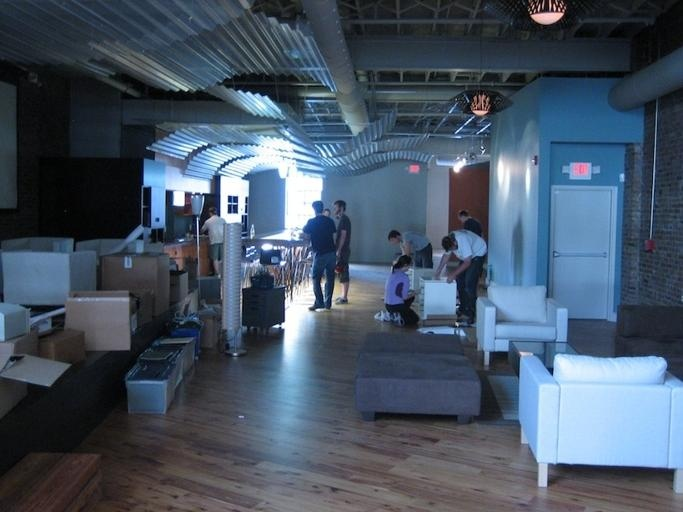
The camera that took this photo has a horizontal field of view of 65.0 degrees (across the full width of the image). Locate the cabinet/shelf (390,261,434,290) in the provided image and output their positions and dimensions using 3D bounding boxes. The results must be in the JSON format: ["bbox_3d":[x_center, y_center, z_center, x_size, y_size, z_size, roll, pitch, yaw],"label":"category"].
[{"bbox_3d":[1.440,0.372,9.929,0.413,0.560,0.790,1,2,-2],"label":"cabinet/shelf"}]

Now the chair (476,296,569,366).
[{"bbox_3d":[2.306,0.959,6.882,0.904,0.718,0.878,0,-3,7],"label":"chair"}]

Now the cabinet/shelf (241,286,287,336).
[{"bbox_3d":[-1.206,0.821,8.126,0.602,0.673,0.656,0,0,26],"label":"cabinet/shelf"}]

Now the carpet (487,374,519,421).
[{"bbox_3d":[1.745,1.509,5.737,0.305,0.058,1.262,4,9,16],"label":"carpet"}]

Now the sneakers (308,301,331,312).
[{"bbox_3d":[-0.409,0.908,9.765,0.433,0.194,0.149,1,4,-8],"label":"sneakers"}]

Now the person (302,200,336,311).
[{"bbox_3d":[-0.413,-0.036,9.962,0.580,2.005,0.935,1,8,-2],"label":"person"}]

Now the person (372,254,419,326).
[{"bbox_3d":[0.927,0.527,8.676,0.594,1.199,0.811,0,8,-9],"label":"person"}]

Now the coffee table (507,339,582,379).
[{"bbox_3d":[2.076,0.997,5.617,0.506,0.181,0.780,1,5,5],"label":"coffee table"}]

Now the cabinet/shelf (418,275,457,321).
[{"bbox_3d":[1.564,0.707,8.694,0.532,0.664,0.958,1,1,6],"label":"cabinet/shelf"}]

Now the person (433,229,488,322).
[{"bbox_3d":[2.009,0.327,8.964,0.853,1.645,0.652,-8,11,-22],"label":"person"}]
